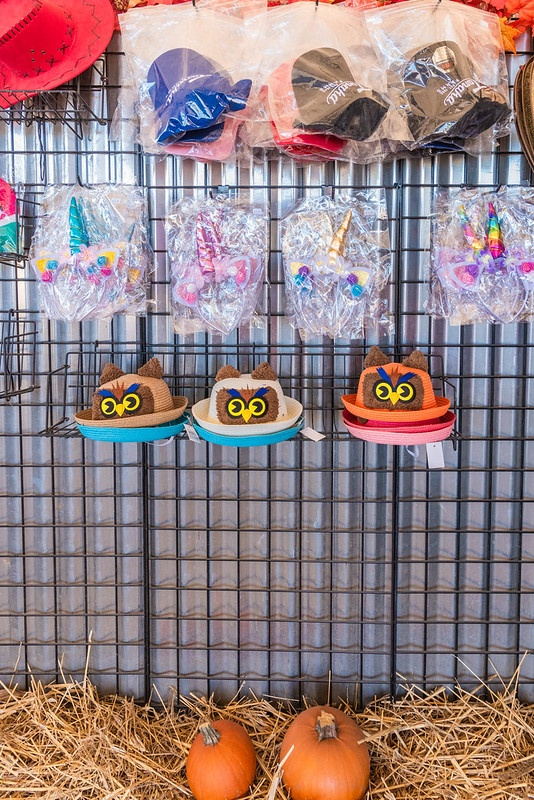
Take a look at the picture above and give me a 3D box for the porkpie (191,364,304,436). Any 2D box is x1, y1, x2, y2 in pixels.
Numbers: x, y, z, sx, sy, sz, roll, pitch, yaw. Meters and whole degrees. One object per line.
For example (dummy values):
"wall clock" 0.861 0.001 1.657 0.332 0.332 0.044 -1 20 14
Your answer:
"porkpie" -0.040 -0.023 1.985 0.230 0.114 0.229 -7 20 -21

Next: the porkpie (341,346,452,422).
"porkpie" 0.264 -0.040 1.976 0.236 0.134 0.232 1 9 -3

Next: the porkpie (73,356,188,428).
"porkpie" -0.279 -0.017 2.001 0.243 0.136 0.240 -5 5 25
